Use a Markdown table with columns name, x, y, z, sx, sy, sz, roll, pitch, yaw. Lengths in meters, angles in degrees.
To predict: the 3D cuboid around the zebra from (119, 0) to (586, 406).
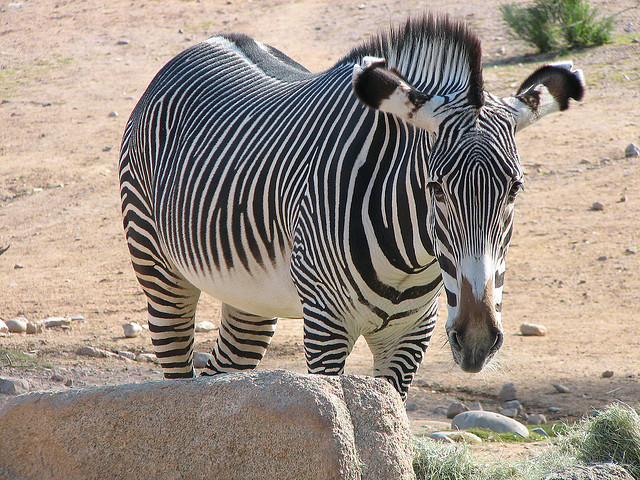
| name | x | y | z | sx | sy | sz | roll | pitch | yaw |
| --- | --- | --- | --- | --- | --- | --- | --- | --- | --- |
| zebra | 0.073 | -0.232 | 10.098 | 3.595 | 3.517 | 1.121 | 13 | 15 | 31 |
